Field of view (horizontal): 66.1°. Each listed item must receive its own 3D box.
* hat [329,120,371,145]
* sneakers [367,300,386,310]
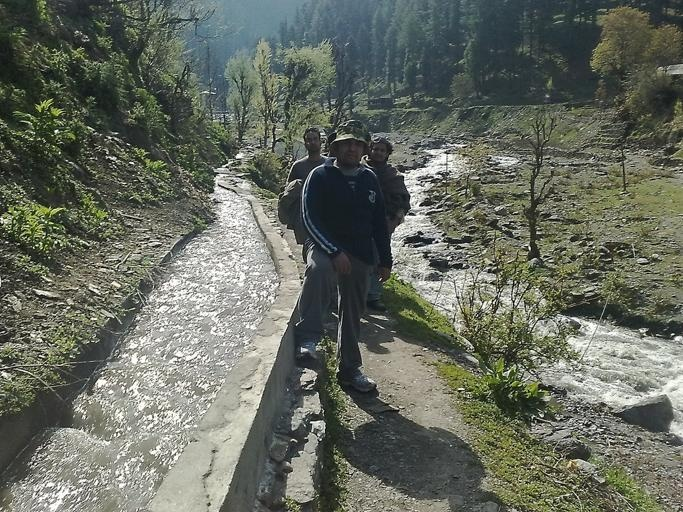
[{"bbox_3d":[0.127,-1.309,5.585,0.331,0.137,0.294,2,9,-9],"label":"hat"},{"bbox_3d":[0.513,0.766,8.248,0.353,0.133,0.129,2,7,8],"label":"sneakers"}]
